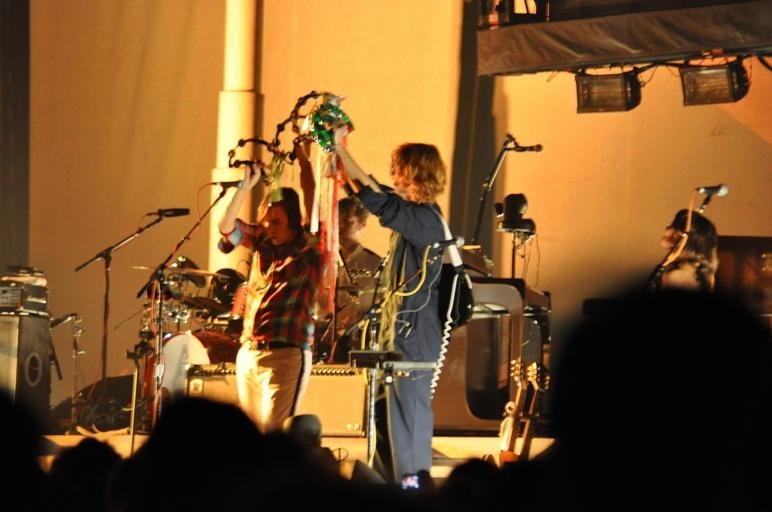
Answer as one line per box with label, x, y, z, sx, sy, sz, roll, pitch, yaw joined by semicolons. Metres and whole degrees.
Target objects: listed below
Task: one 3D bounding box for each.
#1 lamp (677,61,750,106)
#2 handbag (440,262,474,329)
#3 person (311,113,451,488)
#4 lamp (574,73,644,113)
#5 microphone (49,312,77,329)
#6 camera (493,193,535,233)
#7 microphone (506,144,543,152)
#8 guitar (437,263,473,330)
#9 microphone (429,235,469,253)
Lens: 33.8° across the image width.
lamp;3.690;-1.976;14.362;0.699;0.439;0.322;-3;6;8
handbag;0.586;0.339;11.029;0.323;0.615;0.592;0;3;-15
person;0.064;0.517;11.288;1.073;2.795;0.932;3;-3;-44
lamp;2.513;-1.920;14.897;0.618;0.407;0.376;-2;7;10
microphone;-3.730;0.733;14.633;0.291;0.088;0.292;-9;-4;25
camera;1.456;-0.492;14.337;0.429;0.479;0.464;-1;-8;11
microphone;1.511;-1.217;14.106;0.369;0.088;0.211;1;2;27
guitar;0.571;0.346;11.016;0.305;0.577;0.556;-1;3;-12
microphone;0.523;-0.110;10.977;0.296;0.109;0.119;-7;-3;16
